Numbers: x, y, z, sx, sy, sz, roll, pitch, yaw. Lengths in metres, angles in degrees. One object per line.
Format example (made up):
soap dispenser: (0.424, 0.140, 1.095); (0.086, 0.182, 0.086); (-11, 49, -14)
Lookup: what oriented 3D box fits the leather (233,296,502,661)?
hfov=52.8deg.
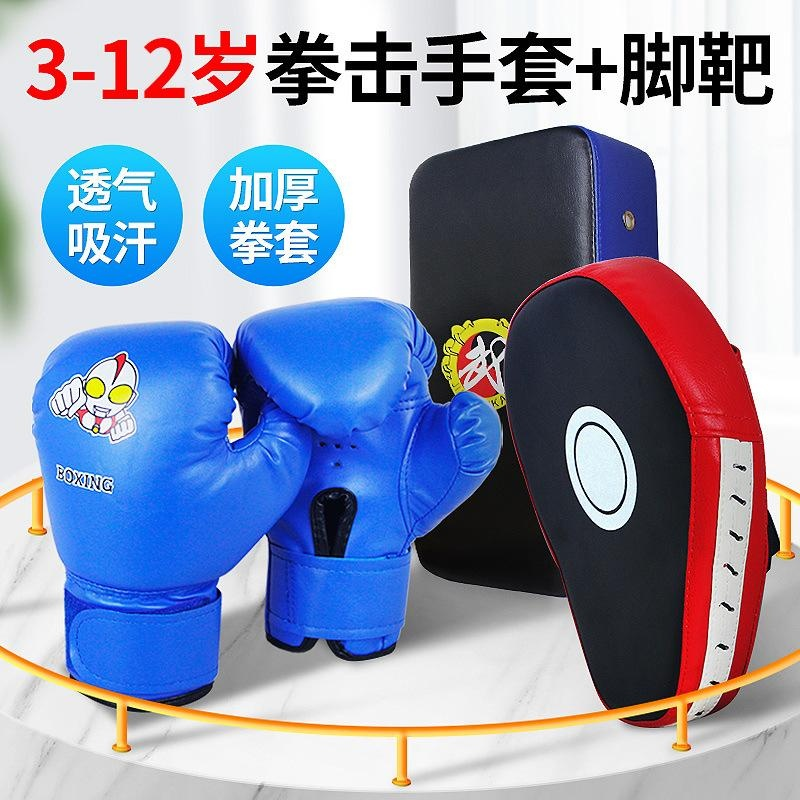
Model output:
leather: (-0.040, 0.091, 0.864); (0.259, 0.401, 0.193); (1, 6, -3)

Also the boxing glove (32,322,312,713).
boxing glove: (-0.246, 0.099, 0.804); (0.250, 0.387, 0.209); (9, 2, 30)

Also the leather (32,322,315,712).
leather: (-0.252, 0.105, 0.803); (0.237, 0.372, 0.201); (5, -1, 16)

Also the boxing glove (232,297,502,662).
boxing glove: (-0.039, 0.088, 0.863); (0.249, 0.395, 0.188); (0, 3, -6)

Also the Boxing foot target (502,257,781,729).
Boxing foot target: (0.215, 0.059, 0.688); (0.239, 0.410, 0.103); (1, 14, 45)
